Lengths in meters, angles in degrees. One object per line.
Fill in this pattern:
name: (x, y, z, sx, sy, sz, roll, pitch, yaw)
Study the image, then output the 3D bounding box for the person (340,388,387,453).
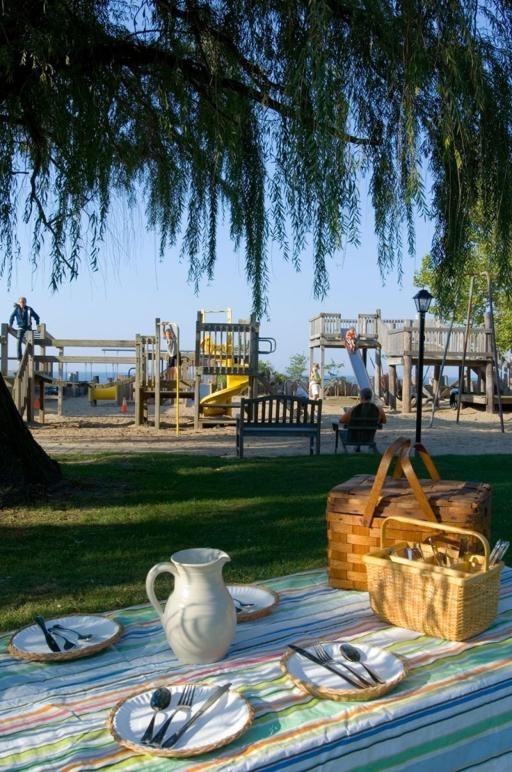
person: (1.558, 0.521, 10.138, 0.633, 1.004, 1.261, -2, 16, -1)

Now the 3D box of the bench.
bench: (0.323, 0.595, 10.084, 1.197, 0.898, 1.308, 0, -3, -1)

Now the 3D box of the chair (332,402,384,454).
chair: (1.506, 0.586, 10.039, 0.646, 1.041, 0.975, 1, 1, -2)

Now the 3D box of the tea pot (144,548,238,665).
tea pot: (-0.140, 0.489, 1.486, 0.166, 0.231, 0.149, -1, -6, -20)

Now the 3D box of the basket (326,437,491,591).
basket: (0.457, 0.384, 2.048, 0.400, 0.495, 0.343, 1, -3, 26)

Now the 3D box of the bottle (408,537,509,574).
bottle: (0.513, 0.447, 1.755, 0.225, 0.099, 0.137, -2, -2, 28)

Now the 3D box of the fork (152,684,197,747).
fork: (-0.149, 0.587, 1.210, 0.018, 0.019, 0.123, -7, 22, 17)

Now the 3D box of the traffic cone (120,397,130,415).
traffic cone: (-5.200, 0.794, 26.766, 0.314, 0.555, 0.362, 1, -3, -7)

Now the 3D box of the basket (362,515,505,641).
basket: (0.457, 0.442, 1.743, 0.222, 0.372, 0.341, 1, -3, -41)
